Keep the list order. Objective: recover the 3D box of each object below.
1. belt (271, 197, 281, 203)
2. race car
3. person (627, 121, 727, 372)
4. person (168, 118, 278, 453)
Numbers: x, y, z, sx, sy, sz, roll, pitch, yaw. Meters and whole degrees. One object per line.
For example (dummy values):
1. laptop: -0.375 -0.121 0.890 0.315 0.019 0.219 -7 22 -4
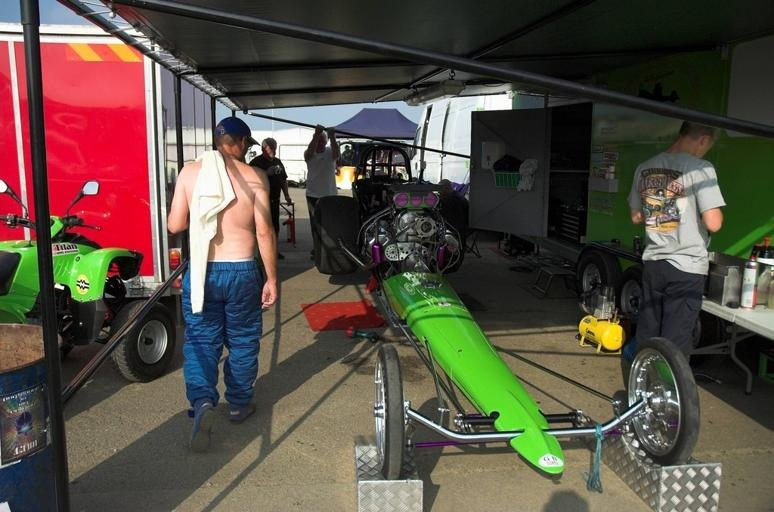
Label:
1. belt: -2.082 -1.034 10.027 0.197 0.076 0.268 1 1 -15
2. race car: 0.521 0.340 5.843 2.170 2.246 5.202 -1 8 -14
3. person: 2.536 -0.087 5.000 0.829 2.193 1.010 0 3 -6
4. person: -1.406 0.171 4.751 1.012 2.636 1.260 3 6 12
